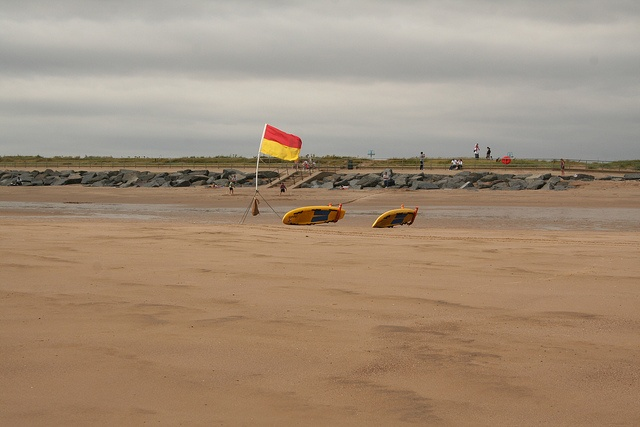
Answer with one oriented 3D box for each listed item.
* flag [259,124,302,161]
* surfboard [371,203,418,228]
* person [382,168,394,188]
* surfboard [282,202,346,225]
[{"bbox_3d":[-1.104,-2.021,16.301,1.337,0.899,0.220,13,14,26],"label":"flag"},{"bbox_3d":[2.366,0.024,17.987,1.240,0.425,0.818,-6,-22,-29],"label":"surfboard"},{"bbox_3d":[5.310,-2.706,44.098,1.099,0.833,2.565,6,15,1],"label":"person"},{"bbox_3d":[-0.179,0.095,18.241,0.548,0.742,2.409,13,16,40],"label":"surfboard"}]
